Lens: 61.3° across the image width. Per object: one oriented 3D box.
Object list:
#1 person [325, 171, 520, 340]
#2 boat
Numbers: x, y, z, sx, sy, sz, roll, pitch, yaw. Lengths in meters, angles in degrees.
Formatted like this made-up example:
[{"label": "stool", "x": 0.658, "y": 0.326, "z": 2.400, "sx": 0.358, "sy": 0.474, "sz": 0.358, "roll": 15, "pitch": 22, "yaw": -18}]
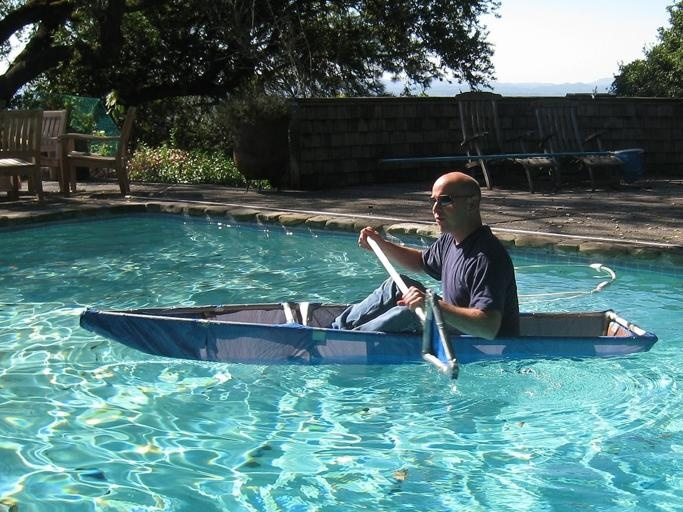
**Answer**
[{"label": "person", "x": 0.387, "y": 0.061, "z": 3.415, "sx": 1.574, "sy": 0.870, "sz": 0.806, "roll": -5, "pitch": 21, "yaw": 15}, {"label": "boat", "x": 0.087, "y": 0.480, "z": 3.492, "sx": 3.117, "sy": 0.215, "sz": 0.581, "roll": 1, "pitch": 5, "yaw": -1}]
